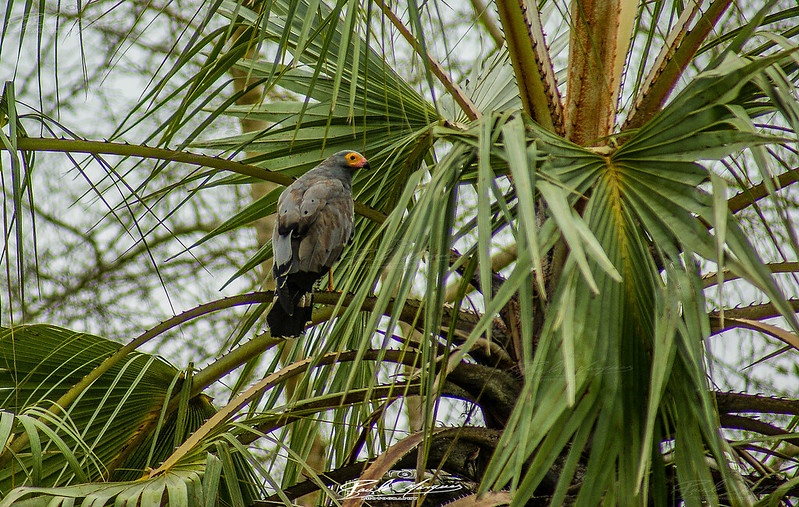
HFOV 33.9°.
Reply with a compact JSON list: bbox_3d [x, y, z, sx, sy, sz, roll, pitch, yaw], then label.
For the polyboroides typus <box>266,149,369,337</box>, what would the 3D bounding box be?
[{"bbox_3d":[-0.553,-0.076,7.984,0.515,1.359,0.544,16,-46,-3],"label":"polyboroides typus"}]
